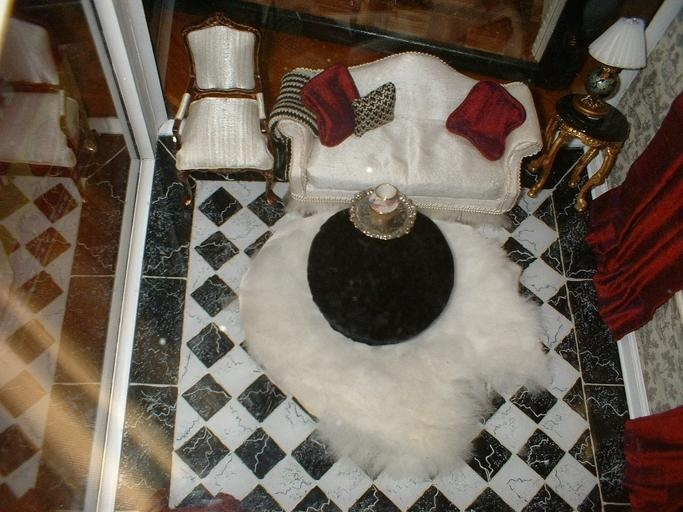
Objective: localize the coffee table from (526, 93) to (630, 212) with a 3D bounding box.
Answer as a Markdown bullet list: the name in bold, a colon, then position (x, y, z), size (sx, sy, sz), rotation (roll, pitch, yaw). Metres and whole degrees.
- **coffee table**: position (1.880, -0.796, 4.466), size (0.626, 0.708, 0.634), rotation (28, 72, 11)

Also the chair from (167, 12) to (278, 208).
- **chair**: position (-0.845, -1.054, 4.228), size (0.712, 1.151, 0.863), rotation (1, 55, -6)

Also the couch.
- **couch**: position (0.484, -1.017, 4.399), size (2.312, 1.149, 1.113), rotation (2, 71, -2)

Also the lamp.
- **lamp**: position (1.962, -1.404, 4.167), size (0.392, 0.688, 0.414), rotation (2, 43, -10)
